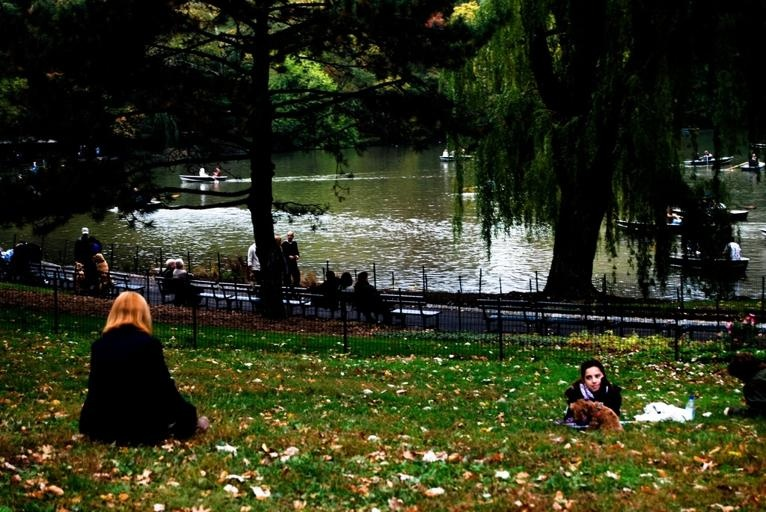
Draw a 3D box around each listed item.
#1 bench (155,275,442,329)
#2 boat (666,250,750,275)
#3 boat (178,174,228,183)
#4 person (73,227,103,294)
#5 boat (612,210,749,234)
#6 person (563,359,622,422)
[{"bbox_3d":[-2.373,1.762,43.586,9.595,1.292,1.649,3,13,26],"label":"bench"},{"bbox_3d":[11.939,0.278,46.358,3.093,0.912,1.442,0,-3,40],"label":"boat"},{"bbox_3d":[-15.798,-6.823,111.583,3.875,0.757,5.220,-1,7,-12],"label":"boat"},{"bbox_3d":[-10.594,0.157,45.464,0.868,2.212,0.663,3,10,26],"label":"person"},{"bbox_3d":[10.426,-1.194,45.013,5.425,1.139,2.220,-1,-1,5],"label":"boat"},{"bbox_3d":[5.205,3.409,31.093,1.455,1.527,0.973,-1,4,14],"label":"person"}]
